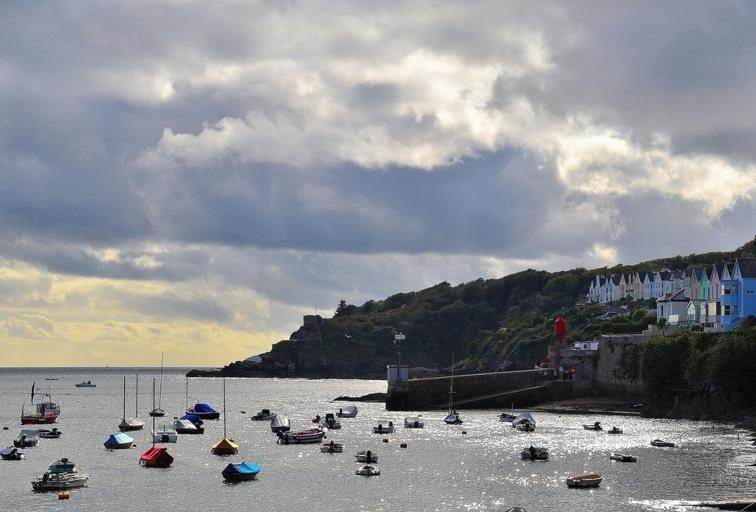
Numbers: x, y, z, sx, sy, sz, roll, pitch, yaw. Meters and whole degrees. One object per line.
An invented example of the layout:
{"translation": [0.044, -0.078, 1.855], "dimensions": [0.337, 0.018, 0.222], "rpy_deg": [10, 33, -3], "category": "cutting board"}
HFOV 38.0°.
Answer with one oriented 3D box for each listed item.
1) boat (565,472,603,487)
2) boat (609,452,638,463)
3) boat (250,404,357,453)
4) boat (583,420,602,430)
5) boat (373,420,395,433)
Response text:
{"translation": [29.649, 32.507, 158.471], "dimensions": [3.693, 1.044, 2.176], "rpy_deg": [-4, 6, -15], "category": "boat"}
{"translation": [37.791, 31.281, 170.464], "dimensions": [4.069, 1.083, 2.237], "rpy_deg": [-1, 0, 14], "category": "boat"}
{"translation": [-14.148, 31.416, 191.973], "dimensions": [7.598, 4.898, 15.990], "rpy_deg": [-4, -8, 5], "category": "boat"}
{"translation": [39.170, 30.822, 199.090], "dimensions": [3.191, 1.068, 1.424], "rpy_deg": [5, -1, -29], "category": "boat"}
{"translation": [0.998, 31.586, 203.127], "dimensions": [2.050, 1.376, 3.248], "rpy_deg": [1, 0, 15], "category": "boat"}
